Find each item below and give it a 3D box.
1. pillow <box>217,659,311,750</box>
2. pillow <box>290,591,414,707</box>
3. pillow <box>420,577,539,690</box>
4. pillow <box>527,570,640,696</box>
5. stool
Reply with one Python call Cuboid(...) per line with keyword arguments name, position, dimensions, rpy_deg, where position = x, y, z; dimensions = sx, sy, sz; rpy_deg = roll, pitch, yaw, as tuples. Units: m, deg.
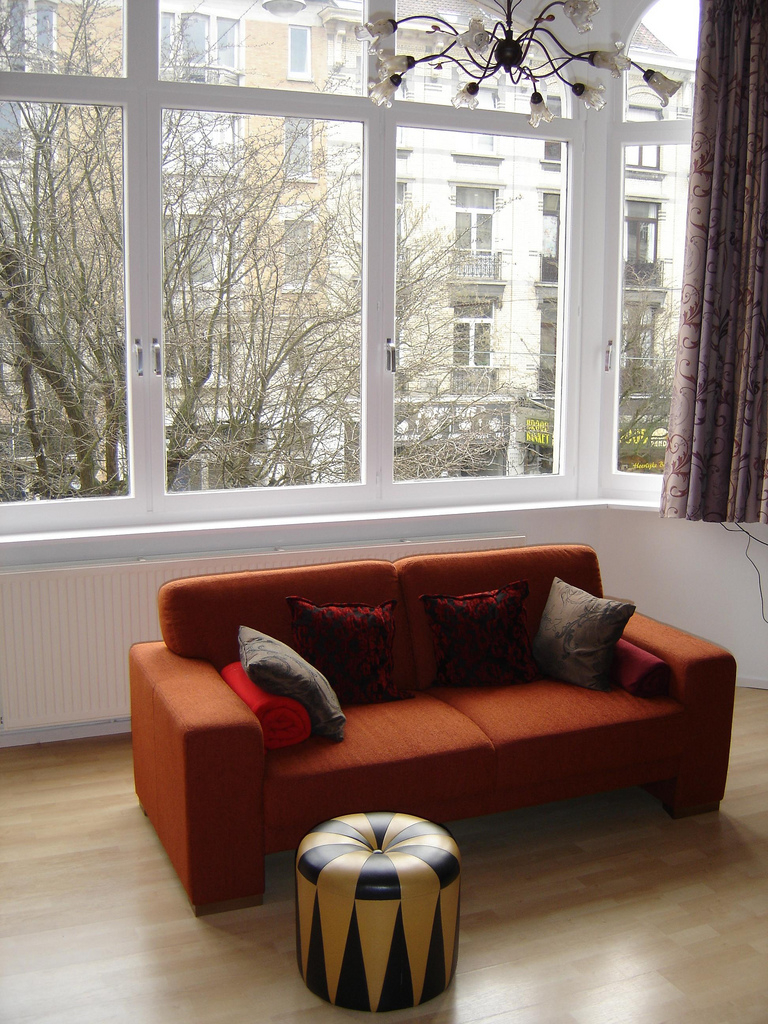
Cuboid(name="pillow", position=(-0.330, 0.610, 2.529), dimensions=(0.170, 0.141, 0.355), rpy_deg=(7, 17, -36))
Cuboid(name="pillow", position=(-0.117, 0.442, 2.794), dimensions=(0.335, 0.312, 0.125), rpy_deg=(4, -13, -31))
Cuboid(name="pillow", position=(0.328, 0.442, 3.065), dimensions=(0.377, 0.356, 0.132), rpy_deg=(-6, 7, -9))
Cuboid(name="pillow", position=(0.672, 0.444, 3.099), dimensions=(0.194, 0.329, 0.342), rpy_deg=(-4, 11, -31))
Cuboid(name="stool", position=(-0.017, 0.850, 1.960), dimensions=(0.345, 0.294, 0.337), rpy_deg=(0, 8, -1))
